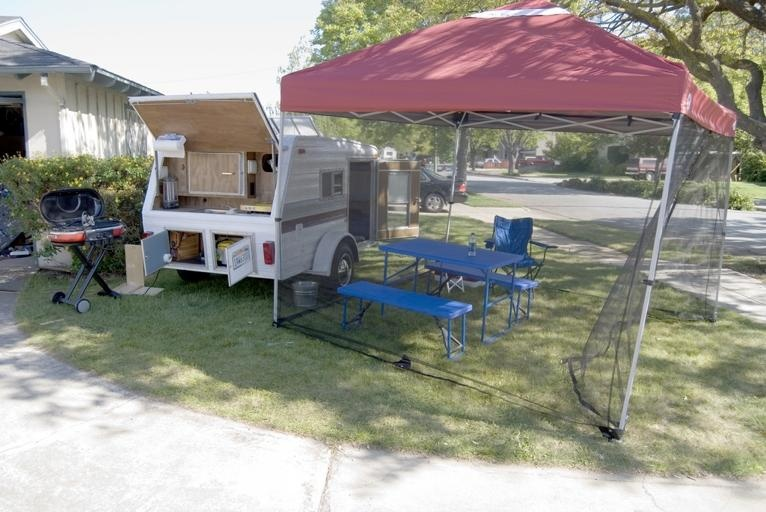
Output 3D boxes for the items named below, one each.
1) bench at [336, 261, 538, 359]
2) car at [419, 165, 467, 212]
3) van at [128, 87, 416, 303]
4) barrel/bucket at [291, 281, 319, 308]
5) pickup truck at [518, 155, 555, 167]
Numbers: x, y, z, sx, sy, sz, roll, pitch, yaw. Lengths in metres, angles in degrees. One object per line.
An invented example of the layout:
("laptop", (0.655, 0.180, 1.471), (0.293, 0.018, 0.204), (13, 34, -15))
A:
("bench", (0.725, 0.674, 8.895), (2.040, 0.861, 2.513), (14, 17, 39))
("car", (2.067, -2.410, 21.829), (2.389, 1.040, 1.188), (-3, 12, -1))
("van", (-1.649, -1.300, 10.763), (3.645, 2.606, 4.606), (8, 17, 30))
("barrel/bucket", (-1.188, 0.559, 9.053), (0.407, 0.311, 0.398), (0, 4, 0))
("pickup truck", (16.669, -10.289, 63.781), (3.155, 0.816, 3.397), (-2, 4, -31))
